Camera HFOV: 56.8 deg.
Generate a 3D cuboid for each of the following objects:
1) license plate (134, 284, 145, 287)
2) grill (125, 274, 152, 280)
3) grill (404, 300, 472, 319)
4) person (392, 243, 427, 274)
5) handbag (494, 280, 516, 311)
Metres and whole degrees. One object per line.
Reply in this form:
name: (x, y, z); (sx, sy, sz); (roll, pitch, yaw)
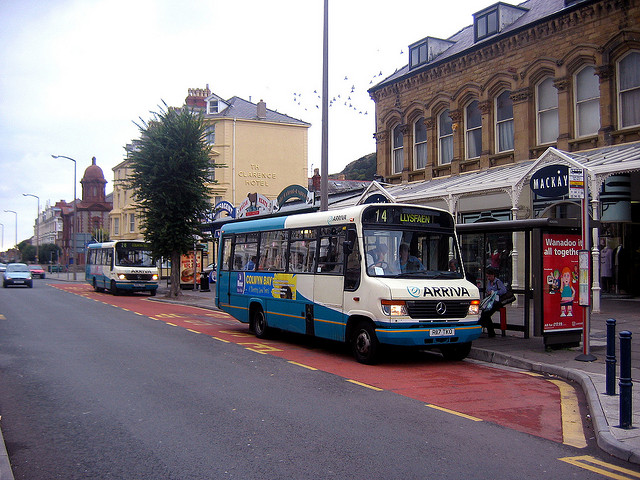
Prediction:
license plate: (-10.171, 2.621, 33.409); (0.502, 0.156, 0.070); (-1, 1, -12)
grill: (-10.252, 2.136, 33.525); (1.367, 0.328, 0.125); (-1, 1, -25)
grill: (2.376, 1.392, 11.861); (1.521, 0.415, 0.112); (-1, 1, -25)
person: (1.835, 0.408, 12.270); (0.680, 0.605, 0.416); (0, 1, 2)
handbag: (4.512, 1.390, 14.603); (0.405, 0.431, 0.423); (-24, -1, -31)
